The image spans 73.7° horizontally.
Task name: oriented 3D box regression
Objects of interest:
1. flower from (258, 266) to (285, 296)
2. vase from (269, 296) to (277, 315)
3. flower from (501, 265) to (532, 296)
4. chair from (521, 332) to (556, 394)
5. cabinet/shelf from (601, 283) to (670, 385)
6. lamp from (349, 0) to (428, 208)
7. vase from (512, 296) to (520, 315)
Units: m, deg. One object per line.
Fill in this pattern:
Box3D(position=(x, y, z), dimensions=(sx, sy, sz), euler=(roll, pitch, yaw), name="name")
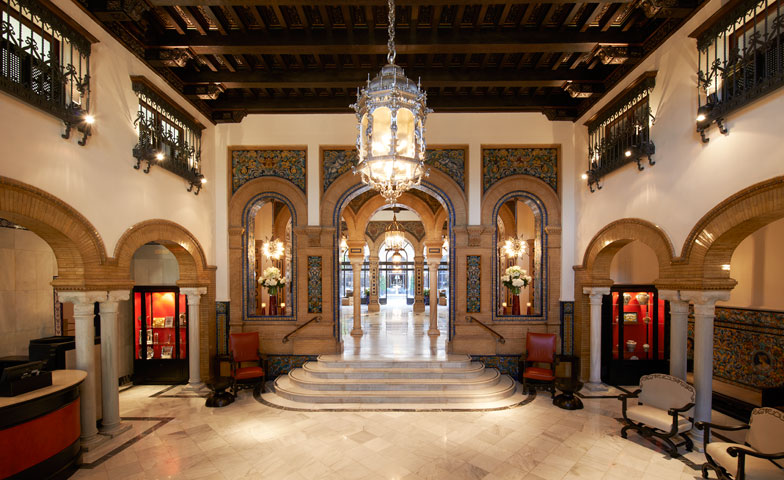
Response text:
Box3D(position=(-3.520, 1.216, 15.354), dimensions=(0.723, 0.865, 0.612), euler=(-3, -7, 11), name="flower")
Box3D(position=(-3.450, 1.862, 15.100), dimensions=(0.198, 0.532, 0.214), euler=(1, -7, -15), name="vase")
Box3D(position=(3.550, 1.145, 15.044), dimensions=(0.735, 0.849, 0.800), euler=(-5, -9, 29), name="flower")
Box3D(position=(3.901, 3.347, 13.867), dimensions=(1.078, 1.550, 1.094), euler=(1, 3, 5), name="chair")
Box3D(position=(6.522, 2.568, 14.143), dimensions=(1.772, 2.684, 0.504), euler=(-1, -7, 1), name="cabinet/shelf")
Box3D(position=(-0.038, -2.285, 10.588), dimensions=(1.428, 2.667, 0.721), euler=(0, -7, -5), name="lamp")
Box3D(position=(3.495, 1.876, 14.950), dimensions=(0.193, 0.588, 0.396), euler=(-3, -7, 12), name="vase")
